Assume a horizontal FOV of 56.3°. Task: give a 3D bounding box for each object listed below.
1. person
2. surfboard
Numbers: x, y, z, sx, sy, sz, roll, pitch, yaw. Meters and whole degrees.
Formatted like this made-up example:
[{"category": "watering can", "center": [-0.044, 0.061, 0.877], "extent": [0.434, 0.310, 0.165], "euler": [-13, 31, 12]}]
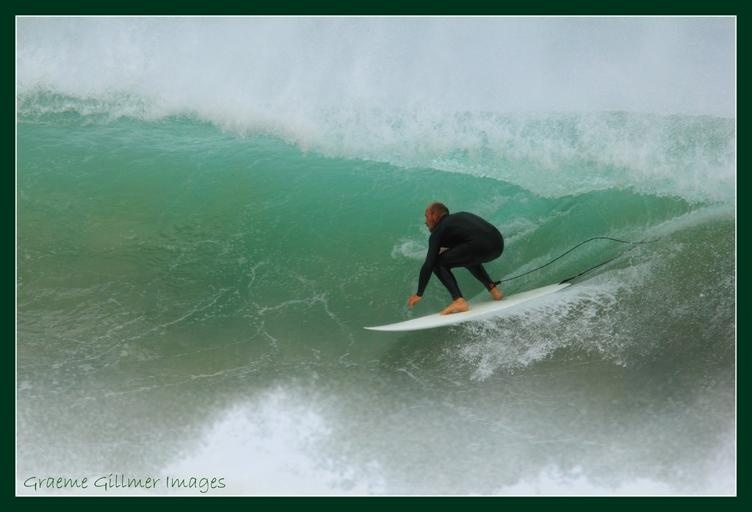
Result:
[{"category": "person", "center": [1.032, 0.043, 8.872], "extent": [1.071, 1.311, 0.743], "euler": [5, 19, 9]}, {"category": "surfboard", "center": [1.286, 0.685, 9.341], "extent": [2.248, 0.134, 0.320], "euler": [-10, 11, -21]}]
